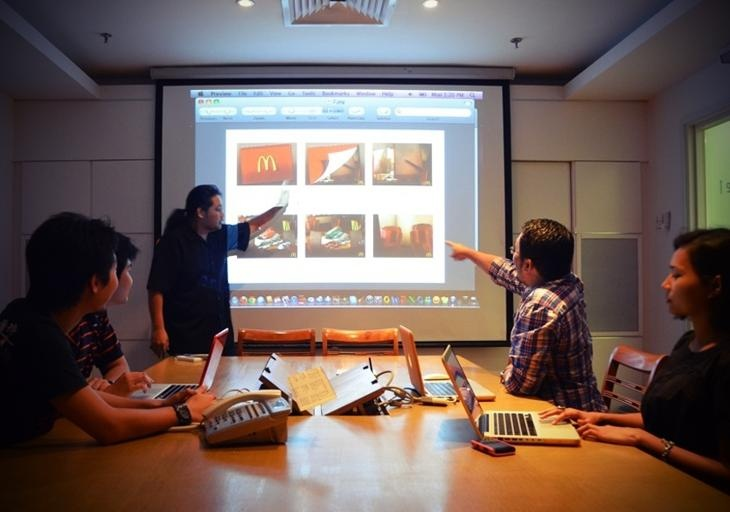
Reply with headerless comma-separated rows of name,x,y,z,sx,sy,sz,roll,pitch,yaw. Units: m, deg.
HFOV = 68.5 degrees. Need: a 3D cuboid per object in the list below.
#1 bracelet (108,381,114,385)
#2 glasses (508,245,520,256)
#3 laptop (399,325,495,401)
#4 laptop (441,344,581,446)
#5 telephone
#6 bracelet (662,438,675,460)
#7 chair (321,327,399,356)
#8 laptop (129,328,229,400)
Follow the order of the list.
bracelet,-1.490,0.736,3.128,0.034,0.009,0.032,6,6,21
glasses,1.012,-0.037,3.619,0.085,0.050,0.114,0,-5,2
laptop,0.441,0.578,3.213,0.413,0.298,0.475,2,1,-5
laptop,0.720,0.633,2.726,0.503,0.327,0.512,-2,1,1
telephone,-0.613,0.805,2.719,0.423,0.155,0.458,2,-1,-9
bracelet,1.416,0.900,2.521,0.048,0.082,0.077,6,-10,31
chair,-0.062,0.722,4.532,0.589,0.300,0.745,-1,3,-6
laptop,-1.064,0.643,3.144,0.253,0.394,0.360,23,-5,-3
